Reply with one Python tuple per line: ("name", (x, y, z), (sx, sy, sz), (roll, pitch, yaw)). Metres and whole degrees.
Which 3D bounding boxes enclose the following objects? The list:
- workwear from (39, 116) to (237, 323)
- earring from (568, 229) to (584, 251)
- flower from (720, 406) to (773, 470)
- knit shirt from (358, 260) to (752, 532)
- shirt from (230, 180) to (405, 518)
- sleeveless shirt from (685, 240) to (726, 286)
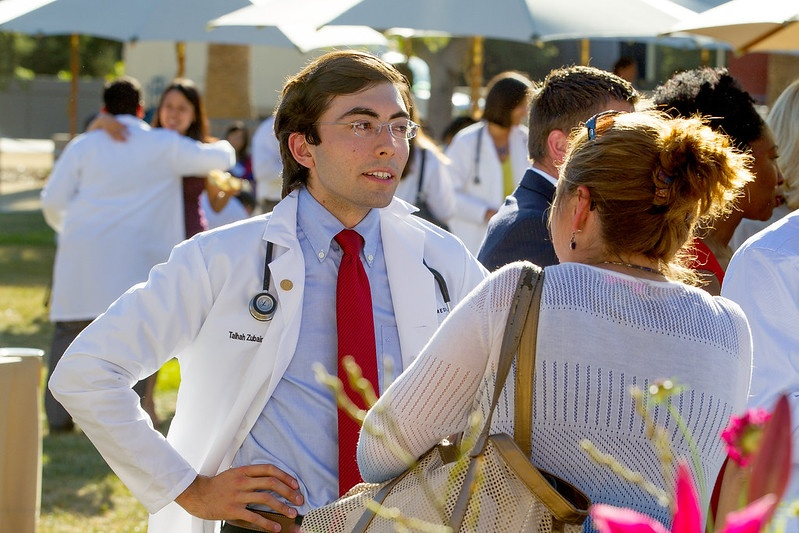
("workwear", (-1.967, -0.300, 8.827), (1.244, 2.689, 0.770), (1, 39, -16))
("earring", (0.700, -0.109, 4.829), (0.047, 0.082, 0.011), (9, 11, 41))
("flower", (1.176, 0.583, 4.167), (0.078, 0.189, 0.179), (23, 36, -7))
("knit shirt", (0.642, 0.484, 4.756), (1.410, 0.988, 0.380), (3, 8, 8))
("shirt", (-0.391, 0.391, 5.542), (0.763, 1.349, 0.311), (7, -3, -27))
("sleeveless shirt", (1.434, -0.014, 5.738), (0.146, 0.280, 0.211), (-2, 1, -20))
